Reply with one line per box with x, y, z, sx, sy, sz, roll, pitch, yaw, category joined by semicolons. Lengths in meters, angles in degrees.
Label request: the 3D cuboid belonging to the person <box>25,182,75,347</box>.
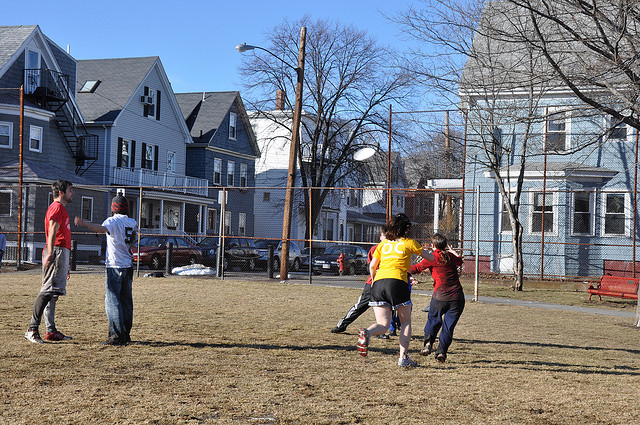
-6.166;1.055;21.773;0.973;3.572;1.501;0;-2;0;person

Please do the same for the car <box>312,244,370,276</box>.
0.944;2.378;45.217;1.355;1.297;3.183;-1;-1;34;car

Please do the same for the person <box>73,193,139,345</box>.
-4.741;1.276;21.759;1.407;3.416;1.129;0;-1;22;person

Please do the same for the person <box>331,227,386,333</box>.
0.842;2.327;23.655;1.541;2.744;1.135;-1;0;-8;person
